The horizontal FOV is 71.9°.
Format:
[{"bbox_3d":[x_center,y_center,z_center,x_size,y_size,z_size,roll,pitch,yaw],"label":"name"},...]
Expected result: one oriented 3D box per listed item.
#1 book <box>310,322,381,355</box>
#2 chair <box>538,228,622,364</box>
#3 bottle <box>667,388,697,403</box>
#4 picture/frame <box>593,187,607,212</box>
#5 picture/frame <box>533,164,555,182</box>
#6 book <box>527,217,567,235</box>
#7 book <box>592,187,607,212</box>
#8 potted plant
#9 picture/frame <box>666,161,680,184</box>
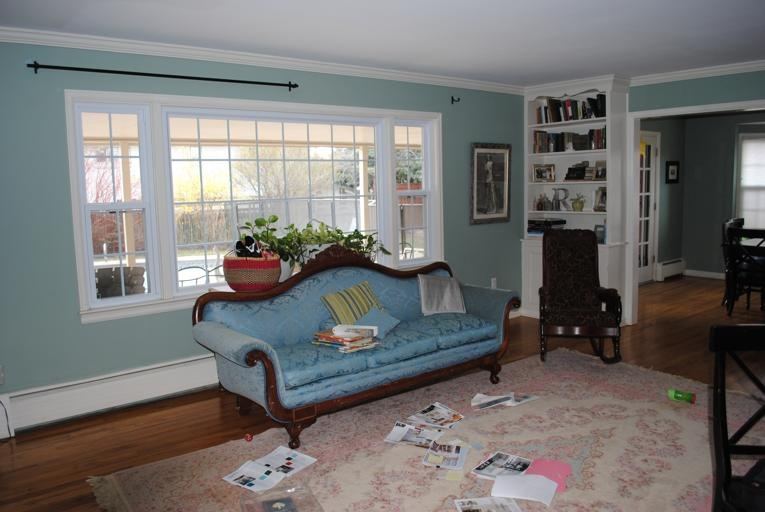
[{"bbox_3d":[-0.335,0.715,4.644,0.326,0.101,0.324,-5,7,-44],"label":"book"},{"bbox_3d":[2.190,0.461,5.913,0.851,1.388,1.013,3,14,16],"label":"chair"},{"bbox_3d":[2.737,1.278,4.850,0.227,0.109,0.122,8,1,15],"label":"bottle"},{"bbox_3d":[2.864,-0.743,6.969,0.154,0.297,0.351,4,14,21],"label":"picture/frame"},{"bbox_3d":[2.265,-1.162,7.435,0.285,0.247,0.033,0,-7,8],"label":"picture/frame"},{"bbox_3d":[2.262,-0.423,7.390,0.362,0.110,0.358,4,10,35],"label":"book"},{"bbox_3d":[2.864,-0.743,6.969,0.154,0.297,0.351,4,14,21],"label":"book"},{"bbox_3d":[-0.891,-0.080,5.313,1.363,0.535,0.754,-7,14,-34],"label":"potted plant"},{"bbox_3d":[5.184,-1.502,9.462,0.452,0.438,0.035,-6,7,-41],"label":"picture/frame"}]
